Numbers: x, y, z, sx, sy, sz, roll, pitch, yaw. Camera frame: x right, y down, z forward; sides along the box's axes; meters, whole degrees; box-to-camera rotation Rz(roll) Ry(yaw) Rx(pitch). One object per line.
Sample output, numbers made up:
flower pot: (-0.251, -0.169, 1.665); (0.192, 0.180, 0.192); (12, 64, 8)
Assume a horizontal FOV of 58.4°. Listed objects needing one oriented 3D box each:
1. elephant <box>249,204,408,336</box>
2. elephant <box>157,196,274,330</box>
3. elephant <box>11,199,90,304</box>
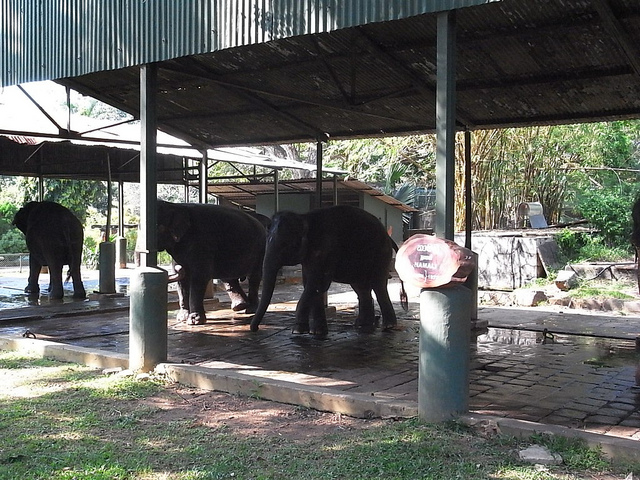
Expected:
elephant: (0.215, 0.418, 8.667); (2.485, 1.964, 0.998); (1, -3, -18)
elephant: (-2.071, 0.282, 9.345); (2.795, 1.958, 1.699); (-1, 1, -22)
elephant: (-6.202, 0.252, 13.172); (1.228, 2.160, 3.407); (0, -1, -39)
